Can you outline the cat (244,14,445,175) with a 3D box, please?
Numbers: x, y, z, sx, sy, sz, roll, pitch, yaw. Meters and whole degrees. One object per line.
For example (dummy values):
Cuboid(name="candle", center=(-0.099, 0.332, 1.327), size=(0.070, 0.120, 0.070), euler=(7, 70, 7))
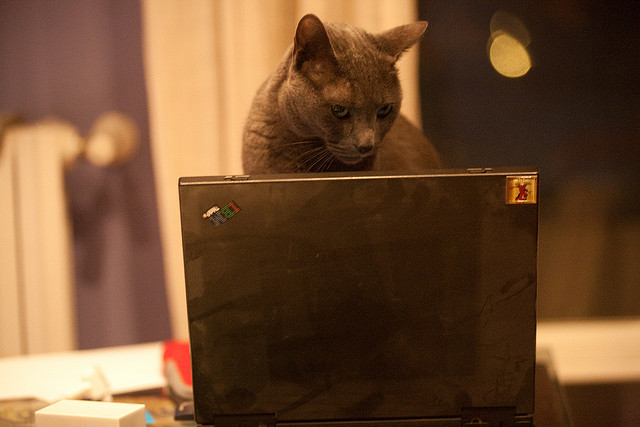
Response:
Cuboid(name="cat", center=(0.022, -0.463, 3.037), size=(0.613, 0.953, 1.182), euler=(-4, 24, -15))
